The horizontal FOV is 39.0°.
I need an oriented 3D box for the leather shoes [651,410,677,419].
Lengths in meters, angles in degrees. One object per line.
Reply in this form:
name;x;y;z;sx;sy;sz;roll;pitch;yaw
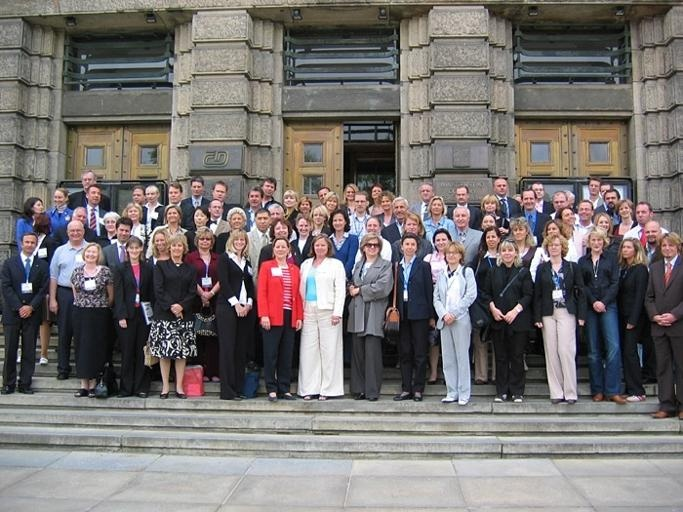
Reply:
leather shoes;5.158;2.549;15.515;0.392;0.147;0.136;3;-7;2

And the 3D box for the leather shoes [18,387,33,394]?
leather shoes;-5.322;2.279;16.399;0.289;0.110;0.096;-4;-2;22

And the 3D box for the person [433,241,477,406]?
person;1.871;1.090;15.981;0.692;2.691;0.506;0;-4;9

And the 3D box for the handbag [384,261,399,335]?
handbag;0.848;0.675;16.128;0.252;1.175;0.483;0;-4;3

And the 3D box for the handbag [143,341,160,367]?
handbag;-3.163;1.606;16.104;0.226;0.521;0.456;-3;-1;11

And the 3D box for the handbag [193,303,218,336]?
handbag;-2.308;1.068;16.397;0.570;0.709;0.225;0;-23;-4

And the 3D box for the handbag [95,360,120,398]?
handbag;-4.065;2.138;16.412;0.299;0.664;0.702;-3;-1;-15

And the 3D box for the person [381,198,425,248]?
person;1.075;-0.578;17.205;0.900;1.280;0.464;-1;-13;9

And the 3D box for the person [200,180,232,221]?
person;-2.288;-1.077;18.099;0.791;0.649;0.390;4;1;-11

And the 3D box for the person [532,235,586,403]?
person;3.610;1.017;15.963;0.828;2.774;0.428;-1;-4;12

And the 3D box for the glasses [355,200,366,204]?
glasses;0.363;-0.997;17.642;0.177;0.088;0.111;0;-4;-5

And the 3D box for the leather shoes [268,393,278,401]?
leather shoes;-1.118;2.306;15.887;0.156;0.143;0.249;0;-3;-3

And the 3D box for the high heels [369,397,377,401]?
high heels;0.536;2.337;15.880;0.137;0.051;0.073;0;-4;-6

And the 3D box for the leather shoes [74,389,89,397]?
leather shoes;-4.329;2.285;16.181;0.247;0.143;0.214;1;-4;-16

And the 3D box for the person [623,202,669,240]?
person;5.368;-0.596;17.094;0.905;0.732;0.460;-2;-7;42

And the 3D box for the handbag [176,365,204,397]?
handbag;-2.481;2.100;16.269;0.447;0.535;0.442;0;-3;-3

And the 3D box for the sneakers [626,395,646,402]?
sneakers;4.825;2.336;15.858;0.316;0.121;0.108;1;-9;5

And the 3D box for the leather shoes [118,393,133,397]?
leather shoes;-3.601;2.316;16.114;0.207;0.069;0.162;1;-3;-13

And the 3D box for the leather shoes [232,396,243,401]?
leather shoes;-1.694;2.342;15.926;0.146;0.056;0.053;-2;-4;9

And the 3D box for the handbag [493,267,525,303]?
handbag;2.807;0.488;16.090;0.080;0.699;0.096;9;34;-37

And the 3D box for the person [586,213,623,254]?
person;4.544;-0.368;16.761;0.614;0.804;0.467;3;-14;6

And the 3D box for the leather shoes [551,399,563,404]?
leather shoes;3.529;2.355;15.712;0.226;0.073;0.083;1;-4;-9

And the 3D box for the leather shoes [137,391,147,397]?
leather shoes;-3.309;2.309;16.157;0.185;0.075;0.061;3;9;5

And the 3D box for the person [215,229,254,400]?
person;-1.741;0.954;16.176;0.645;2.818;0.520;2;-4;-22

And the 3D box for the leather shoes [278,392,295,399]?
leather shoes;-0.882;2.306;16.001;0.298;0.114;0.096;-4;-10;16

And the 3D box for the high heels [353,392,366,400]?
high heels;0.299;2.333;16.064;0.221;0.083;0.073;2;-9;15

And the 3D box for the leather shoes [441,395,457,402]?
leather shoes;1.765;2.332;15.807;0.245;0.097;0.106;5;-12;-18

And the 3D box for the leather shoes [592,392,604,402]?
leather shoes;4.245;2.337;15.983;0.080;0.099;0.235;-6;-23;20

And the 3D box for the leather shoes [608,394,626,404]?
leather shoes;4.531;2.330;15.817;0.256;0.137;0.250;0;-3;4

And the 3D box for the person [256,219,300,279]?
person;-1.090;-0.248;17.149;0.949;0.571;1.525;-6;-14;-1

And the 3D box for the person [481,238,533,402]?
person;2.771;1.051;16.067;0.825;2.679;0.360;0;-4;8

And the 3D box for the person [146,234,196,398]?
person;-2.813;0.993;16.189;0.795;2.723;0.383;1;-4;-10

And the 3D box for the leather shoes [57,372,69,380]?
leather shoes;-4.805;2.065;16.745;0.186;0.122;0.268;1;-3;-12

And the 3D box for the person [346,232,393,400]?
person;0.492;0.995;16.194;0.750;2.767;0.523;0;-4;3

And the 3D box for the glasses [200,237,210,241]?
glasses;-2.317;-0.303;16.560;0.136;0.058;0.026;2;-4;-27

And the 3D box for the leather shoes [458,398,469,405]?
leather shoes;1.985;2.367;15.689;0.179;0.108;0.119;0;-4;1

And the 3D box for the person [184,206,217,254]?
person;-2.512;-0.295;17.311;0.545;1.228;0.390;0;2;-6

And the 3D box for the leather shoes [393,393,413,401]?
leather shoes;1.031;2.317;16.005;0.346;0.145;0.125;2;-5;3

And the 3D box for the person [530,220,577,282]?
person;3.594;-0.065;16.309;0.693;1.232;0.747;17;-19;-31

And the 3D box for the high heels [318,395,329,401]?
high heels;-0.284;2.342;15.978;0.176;0.067;0.064;11;-16;-24

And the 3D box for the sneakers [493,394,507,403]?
sneakers;2.628;2.334;15.950;0.211;0.111;0.428;0;-3;8

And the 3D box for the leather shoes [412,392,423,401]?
leather shoes;1.249;2.308;15.932;0.126;0.137;0.332;1;5;7

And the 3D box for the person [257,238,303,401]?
person;-1.000;1.031;16.131;0.779;2.680;0.473;1;-4;-15

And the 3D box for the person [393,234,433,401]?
person;1.215;0.988;16.153;0.677;2.778;0.406;0;-4;4
